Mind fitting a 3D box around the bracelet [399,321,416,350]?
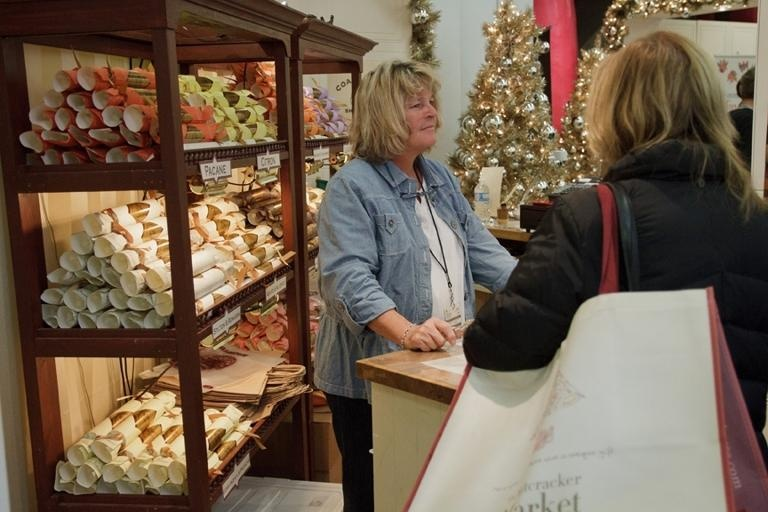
[{"bbox_3d":[0.091,0.303,1.909,0.032,0.084,0.067,5,-29,2],"label":"bracelet"}]
